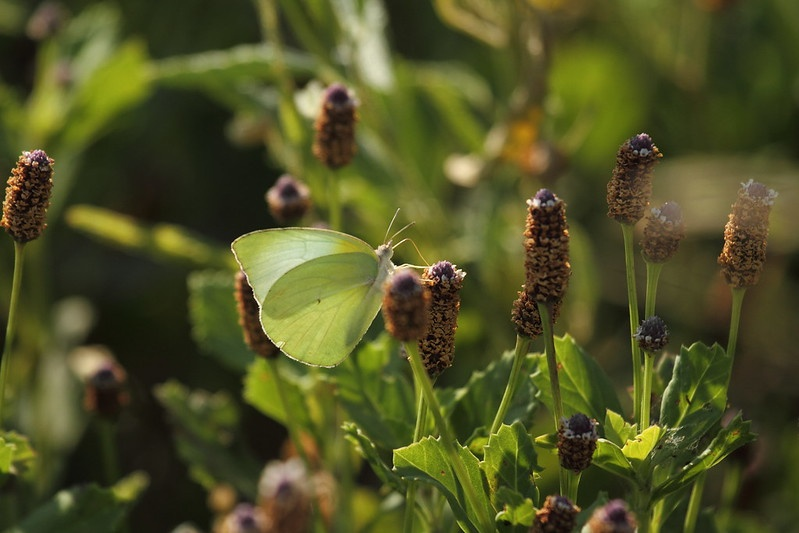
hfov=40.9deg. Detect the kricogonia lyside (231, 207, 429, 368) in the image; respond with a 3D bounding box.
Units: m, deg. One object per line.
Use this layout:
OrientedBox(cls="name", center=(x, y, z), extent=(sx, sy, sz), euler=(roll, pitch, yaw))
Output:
OrientedBox(cls="kricogonia lyside", center=(-0.139, 0.013, 2.267), extent=(0.356, 0.238, 0.269), euler=(-26, 15, -3))
